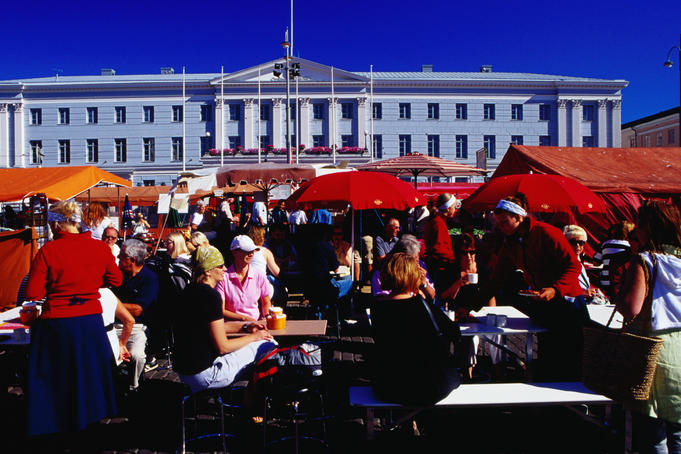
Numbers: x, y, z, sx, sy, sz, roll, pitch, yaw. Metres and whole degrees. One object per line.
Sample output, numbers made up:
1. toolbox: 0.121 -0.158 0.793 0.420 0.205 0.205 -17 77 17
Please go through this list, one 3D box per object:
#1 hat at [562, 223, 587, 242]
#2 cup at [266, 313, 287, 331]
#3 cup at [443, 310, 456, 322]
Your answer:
1. hat: 7.945 0.221 35.161 0.708 0.357 0.929 4 -2 16
2. cup: -2.024 3.033 32.636 0.522 0.326 0.520 -1 1 0
3. cup: 3.360 2.777 31.932 0.309 0.550 0.303 -3 13 1
